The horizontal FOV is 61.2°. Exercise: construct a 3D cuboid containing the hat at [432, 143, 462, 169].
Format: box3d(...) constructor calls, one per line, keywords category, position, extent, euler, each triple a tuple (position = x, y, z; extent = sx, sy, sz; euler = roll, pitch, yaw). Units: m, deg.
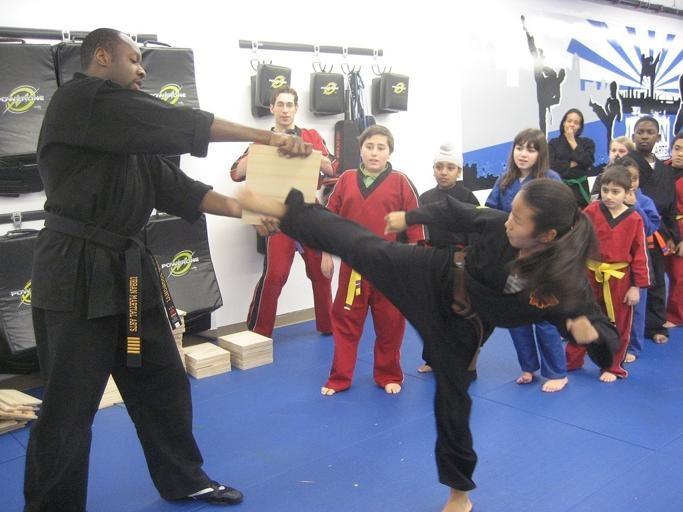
box3d(category="hat", position=(0.816, -0.779, 4.442), extent=(0.172, 0.204, 0.229), euler=(4, 19, 3))
